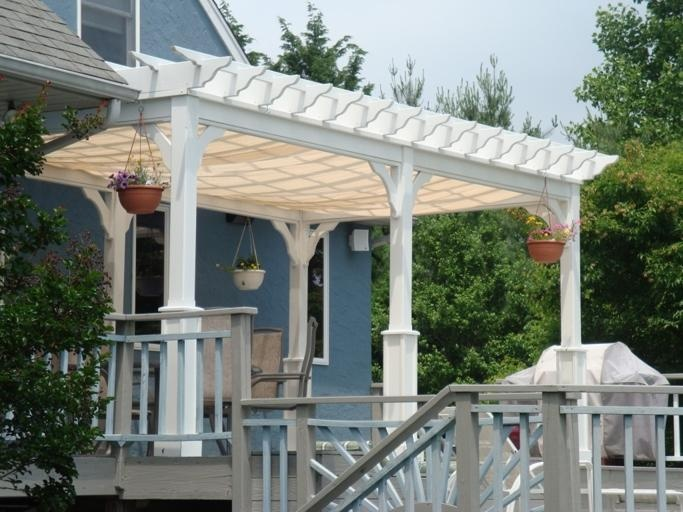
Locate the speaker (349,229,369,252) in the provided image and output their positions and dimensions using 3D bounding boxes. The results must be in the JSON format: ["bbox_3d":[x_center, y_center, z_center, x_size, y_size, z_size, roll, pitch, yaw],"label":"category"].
[{"bbox_3d":[0.277,-0.221,26.755,0.108,0.305,0.281,-5,-7,37],"label":"speaker"}]

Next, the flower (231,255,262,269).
[{"bbox_3d":[-1.323,0.131,24.433,0.236,0.137,0.233,3,10,18],"label":"flower"}]

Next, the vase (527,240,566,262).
[{"bbox_3d":[2.810,-0.046,23.174,0.323,0.210,0.353,1,-3,0],"label":"vase"}]

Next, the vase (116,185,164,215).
[{"bbox_3d":[-2.459,-0.666,20.780,0.368,0.247,0.394,-4,-3,-16],"label":"vase"}]

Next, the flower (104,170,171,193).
[{"bbox_3d":[-2.512,-0.917,20.846,0.560,0.306,0.361,5,11,-11],"label":"flower"}]
